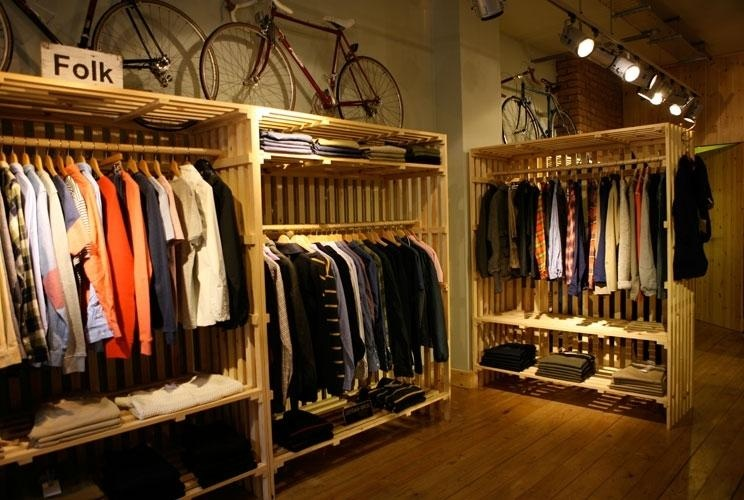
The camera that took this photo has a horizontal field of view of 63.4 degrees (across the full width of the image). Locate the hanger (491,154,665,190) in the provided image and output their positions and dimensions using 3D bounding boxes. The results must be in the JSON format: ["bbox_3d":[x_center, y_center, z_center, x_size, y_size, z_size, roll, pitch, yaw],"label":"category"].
[{"bbox_3d":[2.319,-0.863,6.647,1.809,0.439,0.297,-4,18,17],"label":"hanger"}]

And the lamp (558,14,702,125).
[{"bbox_3d":[3.405,-2.237,7.659,1.199,1.187,4.268,5,13,31],"label":"lamp"}]

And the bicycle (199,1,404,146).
[{"bbox_3d":[-0.776,-1.804,6.625,2.809,1.508,0.667,-1,0,-40],"label":"bicycle"}]
